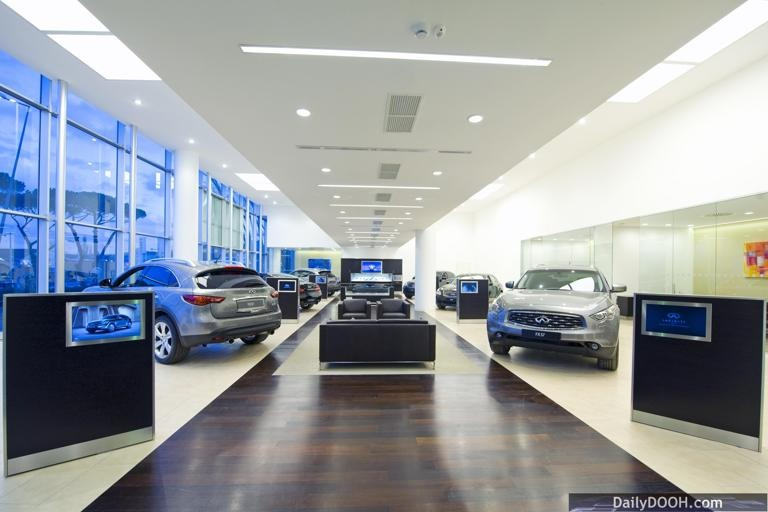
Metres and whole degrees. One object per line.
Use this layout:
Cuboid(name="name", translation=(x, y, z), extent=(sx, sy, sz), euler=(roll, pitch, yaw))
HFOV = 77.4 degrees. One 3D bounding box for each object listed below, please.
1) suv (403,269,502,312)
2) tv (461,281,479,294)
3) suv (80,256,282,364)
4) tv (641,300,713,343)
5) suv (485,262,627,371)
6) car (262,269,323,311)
Cuboid(name="suv", translation=(3.224, 1.341, 18.844), extent=(1.644, 1.139, 3.908), euler=(-3, -5, 30))
Cuboid(name="tv", translation=(2.529, 0.927, 14.263), extent=(0.643, 0.419, 0.335), euler=(1, -15, 0))
Cuboid(name="suv", translation=(-4.170, 1.018, 9.884), extent=(3.741, 1.418, 1.790), euler=(2, -2, 21))
Cuboid(name="tv", translation=(4.290, 0.955, 6.986), extent=(0.718, 0.427, 0.031), euler=(1, -6, 34))
Cuboid(name="suv", translation=(3.237, 0.995, 8.916), extent=(1.747, 1.128, 2.822), euler=(-3, -9, 26))
Cuboid(name="car", translation=(-3.343, 1.209, 17.133), extent=(2.336, 0.716, 1.052), euler=(4, -2, 13))
